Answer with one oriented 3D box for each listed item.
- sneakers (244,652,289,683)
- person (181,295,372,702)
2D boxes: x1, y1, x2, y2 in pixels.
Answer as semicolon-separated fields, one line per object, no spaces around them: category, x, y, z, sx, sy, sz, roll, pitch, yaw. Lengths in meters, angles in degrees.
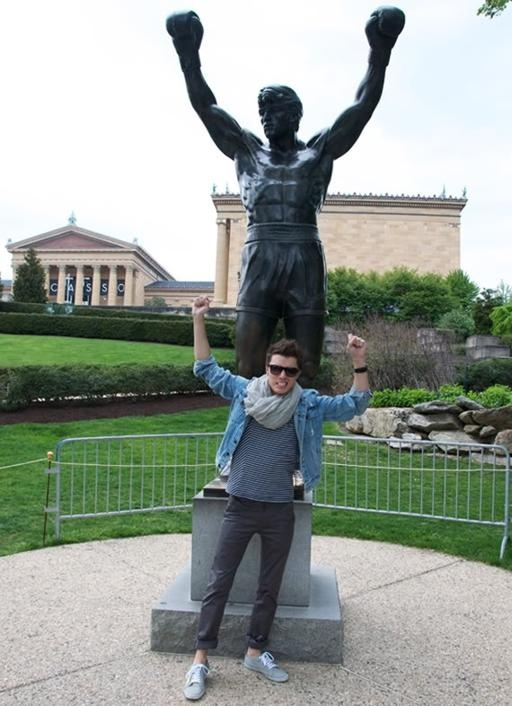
sneakers;0.043;1.447;2.649;0.084;0.095;0.223;3;-9;-44
person;0.093;0.621;2.710;0.833;1.763;0.516;1;1;-8
